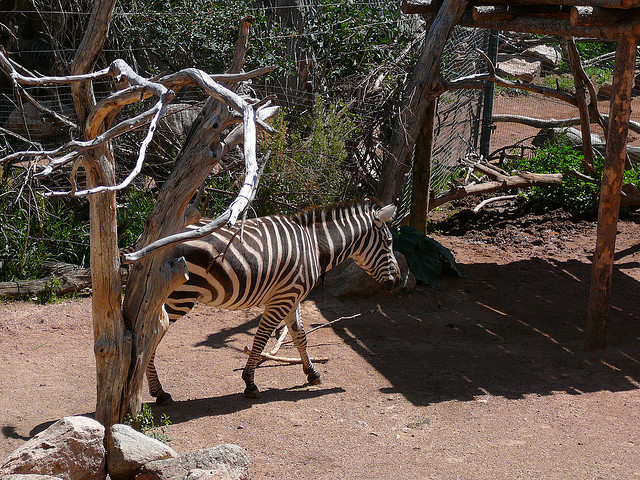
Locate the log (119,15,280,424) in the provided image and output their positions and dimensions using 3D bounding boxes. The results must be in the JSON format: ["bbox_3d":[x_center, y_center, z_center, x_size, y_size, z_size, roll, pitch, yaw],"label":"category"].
[{"bbox_3d":[-1.136,-0.146,7.310,1.251,3.684,1.128,1,12,-5],"label":"log"}]

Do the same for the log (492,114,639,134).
[{"bbox_3d":[4.779,-2.291,15.961,2.201,0.367,3.381,-2,11,-20],"label":"log"}]

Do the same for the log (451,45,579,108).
[{"bbox_3d":[2.989,-2.336,11.903,2.272,0.622,0.138,2,31,-22],"label":"log"}]

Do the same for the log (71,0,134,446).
[{"bbox_3d":[-1.884,-0.149,7.113,0.454,3.786,0.798,-2,12,-17],"label":"log"}]

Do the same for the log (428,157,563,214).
[{"bbox_3d":[2.872,-0.870,12.951,1.966,0.510,0.938,5,30,7],"label":"log"}]

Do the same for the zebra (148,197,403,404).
[{"bbox_3d":[-0.345,0.599,8.613,2.582,1.923,0.678,-7,14,-38],"label":"zebra"}]
